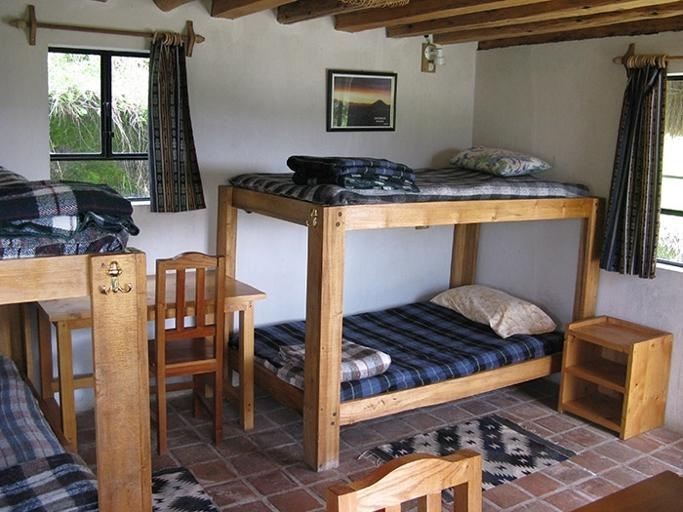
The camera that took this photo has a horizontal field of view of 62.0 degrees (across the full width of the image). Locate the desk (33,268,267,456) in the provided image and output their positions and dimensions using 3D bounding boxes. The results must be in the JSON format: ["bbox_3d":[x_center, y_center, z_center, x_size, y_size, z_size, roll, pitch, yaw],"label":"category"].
[{"bbox_3d":[-1.466,0.470,4.170,1.873,1.144,1.132,-5,11,-34],"label":"desk"}]

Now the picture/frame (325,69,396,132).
[{"bbox_3d":[0.132,-1.387,4.994,0.731,0.474,0.055,-3,16,-25],"label":"picture/frame"}]
